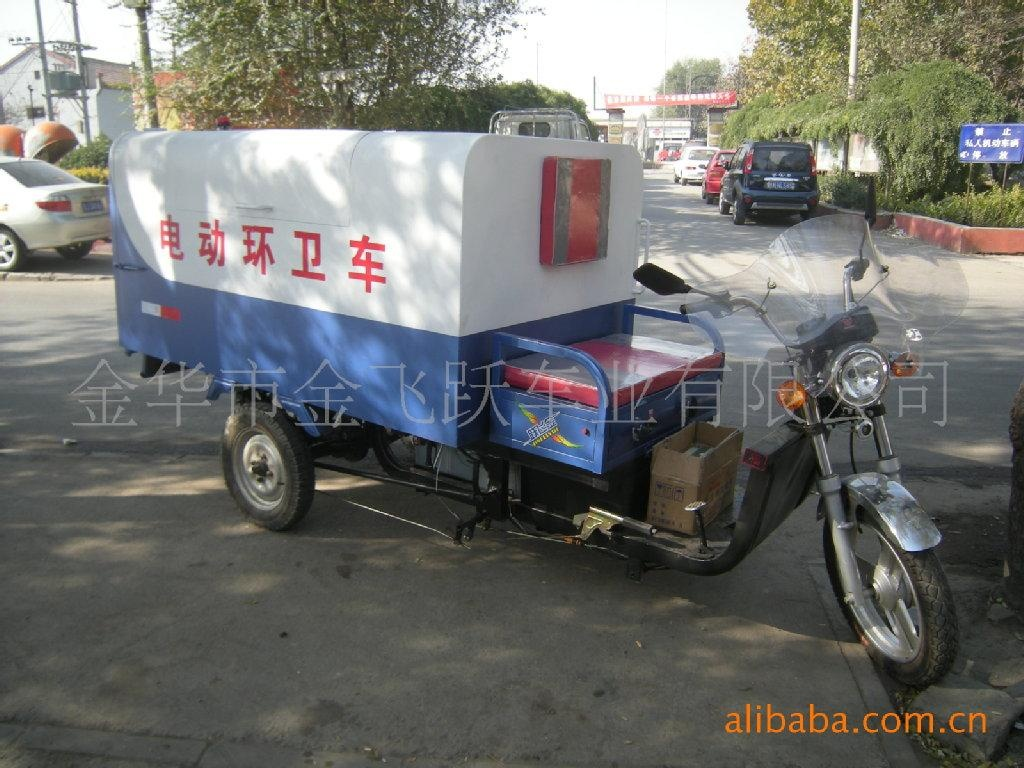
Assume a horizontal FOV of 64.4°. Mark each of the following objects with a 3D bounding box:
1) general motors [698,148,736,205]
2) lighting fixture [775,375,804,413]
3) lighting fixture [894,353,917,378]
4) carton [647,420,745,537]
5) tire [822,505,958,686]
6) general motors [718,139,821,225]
[{"bbox_3d":[7.128,-7.186,28.254,1.060,1.036,1.915,-1,23,7],"label":"general motors"},{"bbox_3d":[1.459,0.065,4.248,0.145,0.174,0.086,4,16,20],"label":"lighting fixture"},{"bbox_3d":[1.990,-0.094,4.132,0.112,0.121,0.028,13,-2,3],"label":"lighting fixture"},{"bbox_3d":[1.097,0.557,4.945,0.376,0.523,0.656,8,18,34],"label":"carton"},{"bbox_3d":[2.037,1.127,4.385,0.370,0.938,0.711,-6,15,-17],"label":"tire"},{"bbox_3d":[7.029,-5.747,22.674,1.942,1.966,3.665,0,21,4],"label":"general motors"}]
